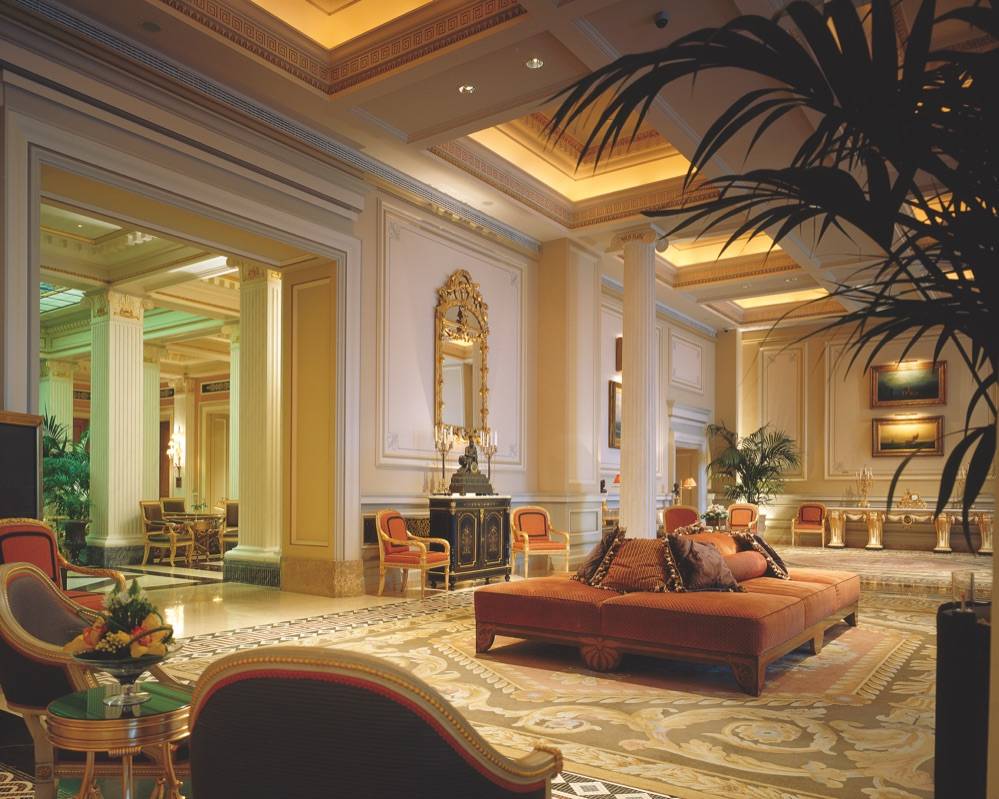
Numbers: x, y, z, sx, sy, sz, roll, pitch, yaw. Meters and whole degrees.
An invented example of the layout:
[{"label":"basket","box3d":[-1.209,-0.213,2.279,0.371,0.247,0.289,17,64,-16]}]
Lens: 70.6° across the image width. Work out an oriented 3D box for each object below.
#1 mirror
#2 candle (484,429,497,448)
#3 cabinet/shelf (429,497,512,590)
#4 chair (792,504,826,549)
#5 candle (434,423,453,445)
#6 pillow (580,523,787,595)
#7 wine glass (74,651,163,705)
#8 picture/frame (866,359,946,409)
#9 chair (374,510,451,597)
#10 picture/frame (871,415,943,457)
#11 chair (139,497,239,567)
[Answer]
[{"label":"mirror","box3d":[-0.517,-0.639,9.250,0.187,2.144,0.989,-5,-7,33]},{"label":"candle","box3d":[-0.120,0.511,9.590,0.168,0.248,0.359,-1,-6,4]},{"label":"cabinet/shelf","box3d":[-0.386,1.678,8.231,0.467,1.002,1.191,-7,-9,37]},{"label":"chair","box3d":[6.843,2.751,15.655,0.869,1.089,0.980,-3,-11,24]},{"label":"candle","box3d":[-0.728,0.442,8.881,0.087,0.243,0.266,-8,-12,29]},{"label":"pillow","box3d":[1.425,1.226,5.407,0.838,0.270,0.992,-5,-7,35]},{"label":"wine glass","box3d":[-1.287,0.953,2.464,0.253,0.113,0.238,0,-7,4]},{"label":"picture/frame","box3d":[8.345,-0.289,14.471,1.209,0.762,0.086,-2,-7,29]},{"label":"chair","box3d":[-0.986,1.702,7.871,0.803,0.930,0.895,-3,-7,21]},{"label":"picture/frame","box3d":[8.027,0.720,13.927,0.078,0.636,0.986,12,-12,-38]},{"label":"chair","box3d":[-5.217,2.263,11.809,0.525,0.664,1.389,-2,-5,16]}]
